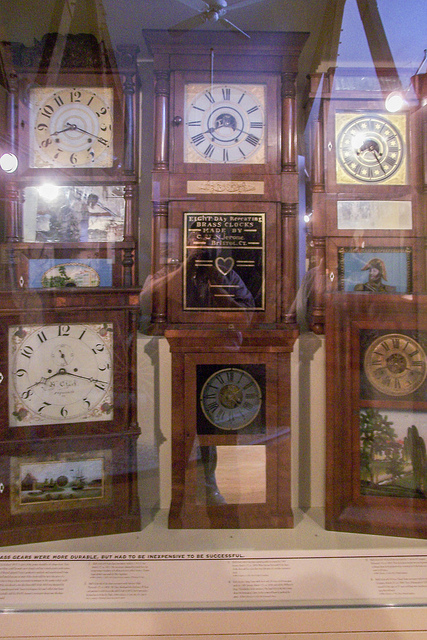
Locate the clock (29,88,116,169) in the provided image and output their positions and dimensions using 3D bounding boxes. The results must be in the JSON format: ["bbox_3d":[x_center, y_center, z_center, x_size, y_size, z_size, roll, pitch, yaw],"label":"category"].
[{"bbox_3d":[-0.424,-0.570,1.693,0.254,0.249,0.033,-2,7,-20],"label":"clock"}]

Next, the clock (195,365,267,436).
[{"bbox_3d":[0.056,0.232,1.706,0.193,0.184,0.019,-3,-10,19],"label":"clock"}]

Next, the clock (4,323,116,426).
[{"bbox_3d":[-0.455,0.152,1.660,0.317,0.290,0.033,0,4,-11],"label":"clock"}]

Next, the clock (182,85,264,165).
[{"bbox_3d":[0.022,-0.567,1.658,0.237,0.226,0.024,2,16,13],"label":"clock"}]
